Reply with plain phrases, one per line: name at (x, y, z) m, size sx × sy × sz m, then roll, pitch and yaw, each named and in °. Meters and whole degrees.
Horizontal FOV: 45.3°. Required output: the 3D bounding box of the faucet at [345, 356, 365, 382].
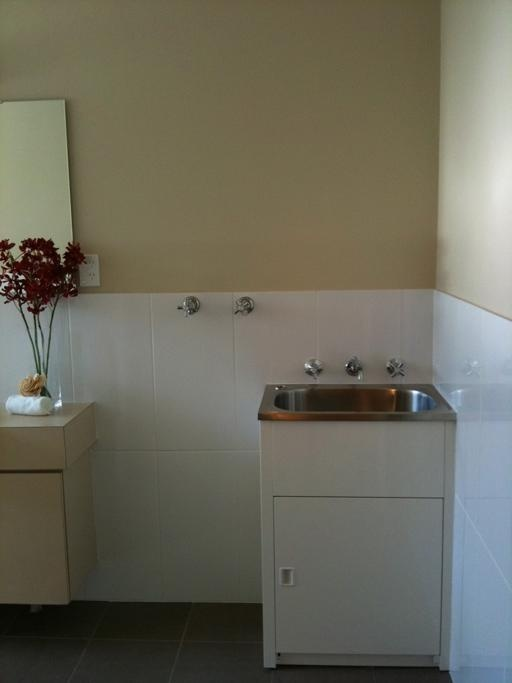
faucet at (0.381, 0.097, 2.378) m, size 0.056 × 0.093 × 0.089 m, roll 5°, pitch 48°, yaw 14°

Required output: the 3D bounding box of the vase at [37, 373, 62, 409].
vase at (-0.791, 0.184, 2.319) m, size 0.103 × 0.131 × 0.043 m, roll -14°, pitch -9°, yaw 26°

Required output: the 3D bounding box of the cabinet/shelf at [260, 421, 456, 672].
cabinet/shelf at (0.321, 0.655, 2.366) m, size 0.800 × 1.072 × 0.753 m, roll -1°, pitch 2°, yaw 4°
